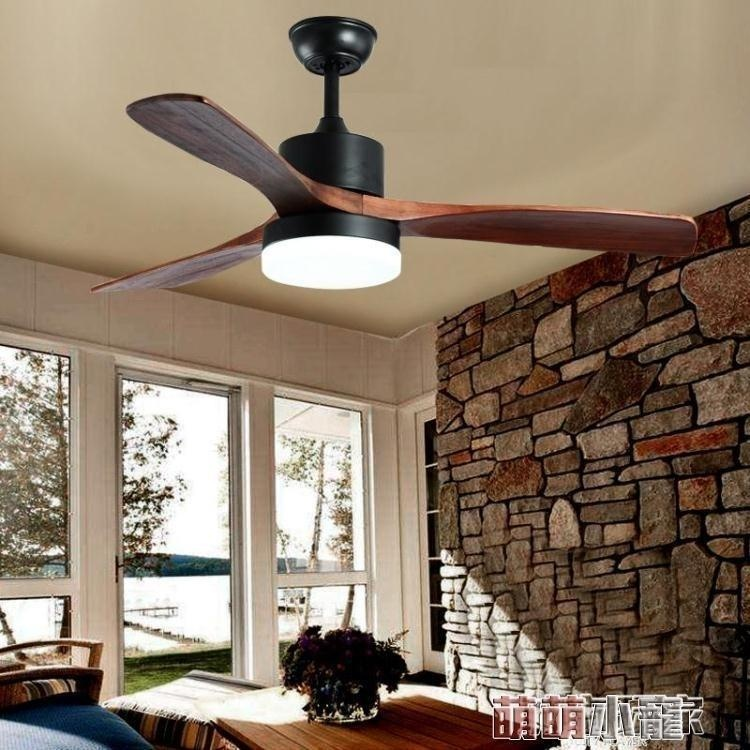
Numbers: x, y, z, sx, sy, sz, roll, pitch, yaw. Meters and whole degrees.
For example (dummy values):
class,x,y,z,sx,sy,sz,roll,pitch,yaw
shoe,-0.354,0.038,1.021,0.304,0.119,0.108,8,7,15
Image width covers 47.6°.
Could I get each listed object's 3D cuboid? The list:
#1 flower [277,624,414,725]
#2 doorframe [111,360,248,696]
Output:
class,x,y,z,sx,sy,sz,roll,pitch,yaw
flower,-0.162,1.132,3.217,0.407,0.223,0.373,9,-22,-23
doorframe,-1.086,0.839,4.793,0.164,1.707,0.841,-7,-8,43
